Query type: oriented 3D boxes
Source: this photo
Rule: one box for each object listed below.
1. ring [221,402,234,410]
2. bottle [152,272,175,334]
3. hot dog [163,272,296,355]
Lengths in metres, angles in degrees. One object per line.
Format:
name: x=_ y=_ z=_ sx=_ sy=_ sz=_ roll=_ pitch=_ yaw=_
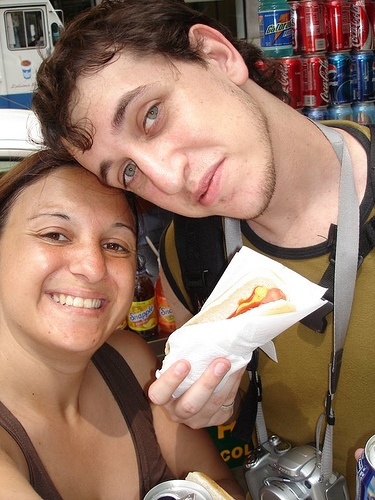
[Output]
ring: x=0.127 y=0.491 z=1.380 sx=0.035 sy=0.013 sz=0.030 roll=-2 pitch=-2 yaw=-16
bottle: x=-0.118 y=0.324 z=2.561 sx=0.125 sy=0.348 sz=0.120 roll=1 pitch=21 yaw=0
hot dog: x=0.098 y=0.225 z=1.127 sx=0.313 sy=0.258 sz=0.231 roll=-6 pitch=15 yaw=-5
